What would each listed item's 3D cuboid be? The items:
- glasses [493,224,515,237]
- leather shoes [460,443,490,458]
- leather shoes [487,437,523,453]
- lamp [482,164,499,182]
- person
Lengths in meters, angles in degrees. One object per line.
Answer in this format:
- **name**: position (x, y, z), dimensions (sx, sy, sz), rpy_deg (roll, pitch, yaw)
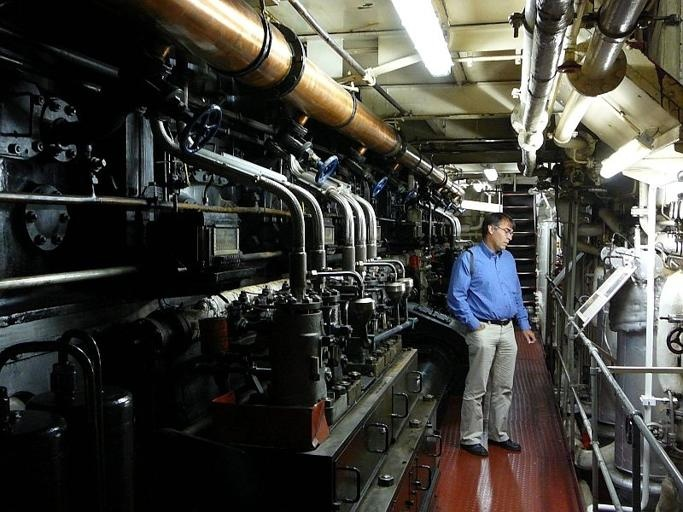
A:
- **glasses**: position (1.666, -0.287, 5.313), dimensions (0.139, 0.044, 0.136), rpy_deg (20, -5, -36)
- **leather shoes**: position (1.394, 2.022, 5.350), dimensions (0.268, 0.115, 0.104), rpy_deg (-1, 7, 32)
- **leather shoes**: position (1.759, 2.019, 5.492), dimensions (0.281, 0.129, 0.112), rpy_deg (-1, 5, 27)
- **lamp**: position (3.339, -1.907, 11.446), dimensions (0.324, 0.356, 0.630), rpy_deg (-3, -8, 15)
- **person**: position (1.547, 0.810, 5.333), dimensions (0.770, 2.526, 0.895), rpy_deg (-1, -1, 20)
